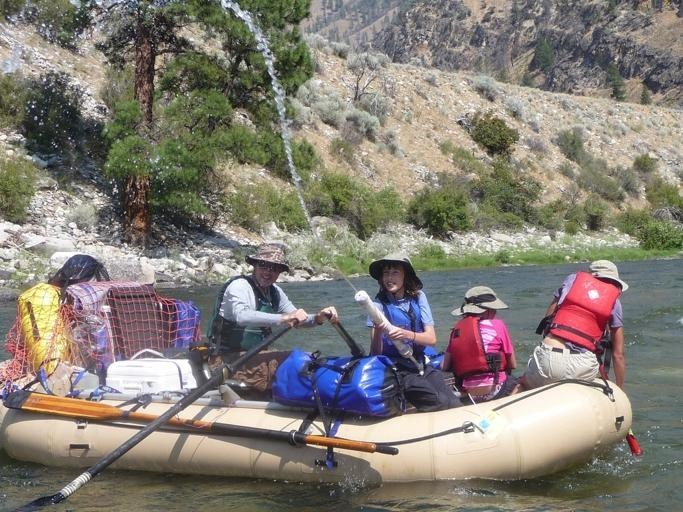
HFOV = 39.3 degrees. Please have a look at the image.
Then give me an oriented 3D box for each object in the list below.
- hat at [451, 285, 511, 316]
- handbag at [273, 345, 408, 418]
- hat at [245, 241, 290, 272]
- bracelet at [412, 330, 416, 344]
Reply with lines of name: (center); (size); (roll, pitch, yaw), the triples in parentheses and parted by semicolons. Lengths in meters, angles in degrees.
hat: (2.132, 0.736, 15.118); (0.584, 0.231, 0.590); (-6, 0, 33)
handbag: (-0.024, 1.865, 14.398); (1.488, 0.636, 1.075); (3, 4, 15)
hat: (-1.112, -0.004, 14.953); (0.519, 0.267, 0.512); (13, 0, -13)
bracelet: (1.107, 1.227, 14.437); (0.052, 0.152, 0.148); (-2, 2, 8)
